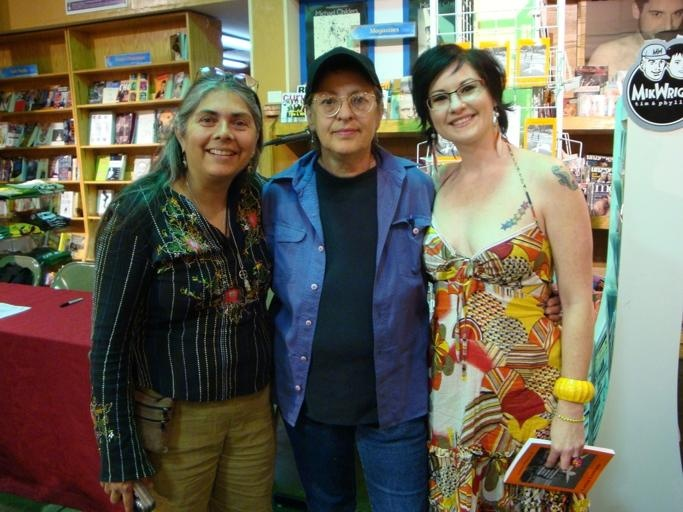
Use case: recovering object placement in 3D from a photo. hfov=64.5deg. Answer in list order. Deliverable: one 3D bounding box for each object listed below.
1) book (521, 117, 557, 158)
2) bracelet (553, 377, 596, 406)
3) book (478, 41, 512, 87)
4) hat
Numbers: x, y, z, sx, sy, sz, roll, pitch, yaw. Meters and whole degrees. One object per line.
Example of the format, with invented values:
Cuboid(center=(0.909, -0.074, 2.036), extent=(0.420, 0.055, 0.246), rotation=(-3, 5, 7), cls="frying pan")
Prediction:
Cuboid(center=(1.039, -0.607, 2.815), extent=(0.165, 0.235, 0.018), rotation=(10, 36, 32), cls="book")
Cuboid(center=(0.820, 0.476, 1.903), extent=(0.102, 0.065, 0.105), rotation=(-1, -1, 41), cls="bracelet")
Cuboid(center=(0.846, -1.062, 2.943), extent=(0.156, 0.022, 0.277), rotation=(7, -30, 21), cls="book")
Cuboid(center=(0.040, -0.773, 2.185), extent=(0.276, 0.169, 0.387), rotation=(0, 34, 7), cls="hat")
